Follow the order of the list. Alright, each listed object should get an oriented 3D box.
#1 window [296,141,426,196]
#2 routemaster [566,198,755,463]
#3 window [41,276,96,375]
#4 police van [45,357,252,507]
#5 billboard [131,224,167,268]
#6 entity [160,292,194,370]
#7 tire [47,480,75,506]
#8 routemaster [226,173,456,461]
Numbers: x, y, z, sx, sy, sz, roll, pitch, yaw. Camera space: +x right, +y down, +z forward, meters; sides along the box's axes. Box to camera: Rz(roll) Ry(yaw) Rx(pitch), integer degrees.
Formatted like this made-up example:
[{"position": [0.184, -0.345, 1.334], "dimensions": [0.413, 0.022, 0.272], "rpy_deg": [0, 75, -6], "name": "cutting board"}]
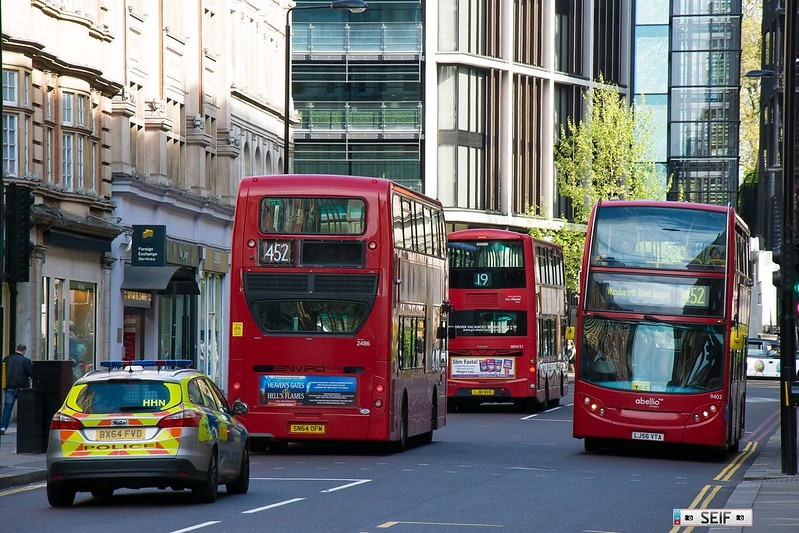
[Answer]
[{"position": [-2.144, -5.445, 74.362], "dimensions": [10.039, 3.271, 3.034], "rpy_deg": [1, 4, 1], "name": "window"}, {"position": [5.641, 1.244, 29.052], "dimensions": [3.372, 5.545, 1.247], "rpy_deg": [-2, 0, -6], "name": "routemaster"}, {"position": [-10.111, 1.562, 41.781], "dimensions": [0.778, 2.016, 3.776], "rpy_deg": [19, -21, -32], "name": "window"}, {"position": [-3.972, 2.720, 21.754], "dimensions": [1.809, 1.441, 3.187], "rpy_deg": [-1, -3, 6], "name": "police van"}, {"position": [-8.414, -0.723, 44.223], "dimensions": [1.297, 1.658, 0.164], "rpy_deg": [0, -2, -1], "name": "billboard"}, {"position": [-8.359, 2.506, 50.707], "dimensions": [1.384, 2.591, 1.878], "rpy_deg": [0, -6, -1], "name": "entity"}, {"position": [-5.397, 3.592, 21.025], "dimensions": [0.152, 0.442, 0.426], "rpy_deg": [-2, -12, 18], "name": "tire"}, {"position": [-1.349, 1.188, 28.587], "dimensions": [2.381, 4.132, 6.245], "rpy_deg": [1, -2, 12], "name": "routemaster"}]
